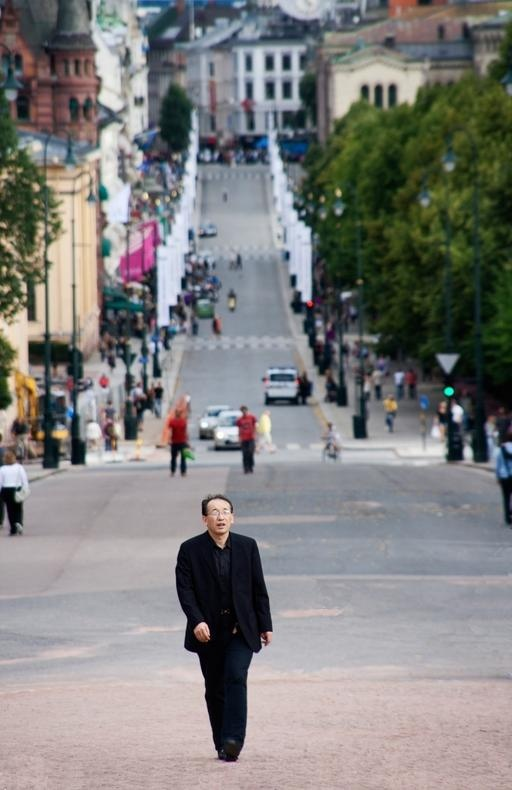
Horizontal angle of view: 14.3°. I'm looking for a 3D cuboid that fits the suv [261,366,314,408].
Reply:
[{"bbox_3d":[1.027,-0.253,66.129,1.236,1.322,2.762,-2,5,13],"label":"suv"}]
